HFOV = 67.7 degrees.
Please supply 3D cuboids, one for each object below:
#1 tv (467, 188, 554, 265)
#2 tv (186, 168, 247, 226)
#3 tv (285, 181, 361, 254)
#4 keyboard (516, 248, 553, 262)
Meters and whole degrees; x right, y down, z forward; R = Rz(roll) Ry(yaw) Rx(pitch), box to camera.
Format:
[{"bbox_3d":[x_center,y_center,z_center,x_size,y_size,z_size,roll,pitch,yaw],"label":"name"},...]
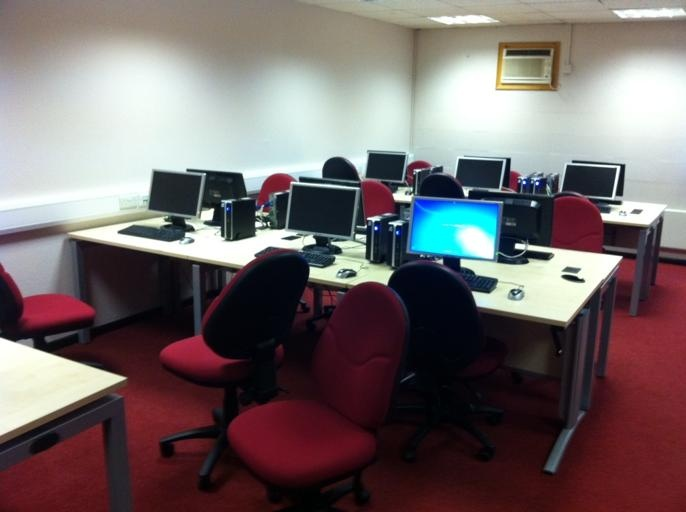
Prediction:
[{"bbox_3d":[1.175,-0.193,3.588,0.434,0.380,0.230,11,24,33],"label":"tv"},{"bbox_3d":[-1.098,-0.501,4.416,0.478,0.357,0.145,13,23,30],"label":"tv"},{"bbox_3d":[-0.151,-0.287,3.874,0.475,0.417,0.209,10,21,27],"label":"tv"},{"bbox_3d":[1.414,-0.030,3.794,0.117,0.030,0.207,-11,14,-44],"label":"keyboard"}]
